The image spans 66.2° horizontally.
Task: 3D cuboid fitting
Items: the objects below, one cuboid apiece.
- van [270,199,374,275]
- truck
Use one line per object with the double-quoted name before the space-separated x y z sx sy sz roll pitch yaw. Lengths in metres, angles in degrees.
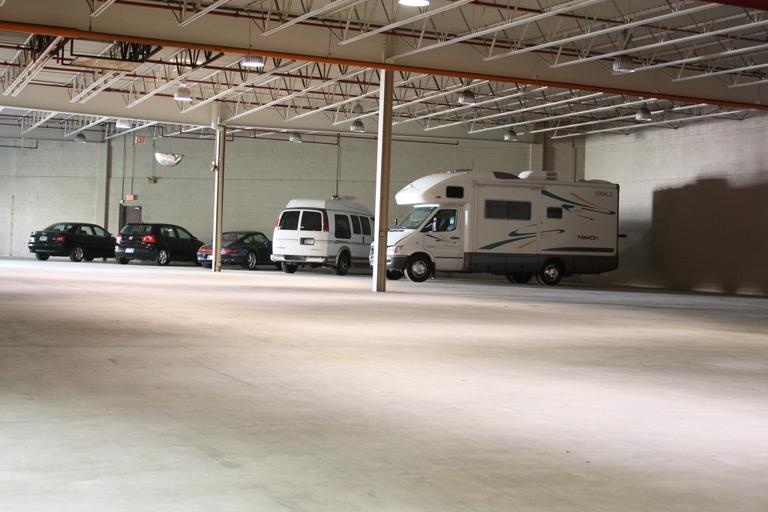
"van" -2.385 -0.792 24.211 3.853 3.068 1.621 2 1 -43
"truck" 3.908 -1.170 23.910 10.529 4.906 3.967 -1 2 -16
